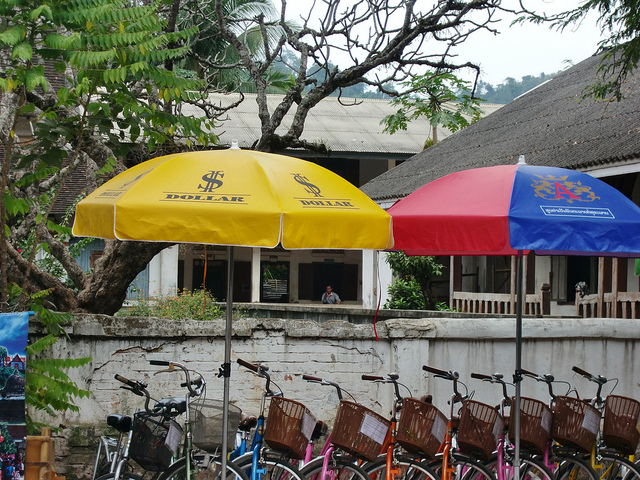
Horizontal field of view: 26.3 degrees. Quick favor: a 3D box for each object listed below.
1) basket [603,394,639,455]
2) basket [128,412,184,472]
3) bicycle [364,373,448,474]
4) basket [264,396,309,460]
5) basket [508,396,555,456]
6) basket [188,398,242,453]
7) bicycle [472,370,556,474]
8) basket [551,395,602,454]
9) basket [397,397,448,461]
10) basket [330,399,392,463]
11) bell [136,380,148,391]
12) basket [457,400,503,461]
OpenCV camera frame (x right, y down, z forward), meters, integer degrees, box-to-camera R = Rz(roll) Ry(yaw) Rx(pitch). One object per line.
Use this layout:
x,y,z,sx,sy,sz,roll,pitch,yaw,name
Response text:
3.612,2.177,16.395,0.503,0.585,0.656,3,-35,21,basket
-1.899,2.225,15.336,0.691,0.527,0.591,22,-26,-1,basket
1.021,2.242,15.572,0.792,0.903,1.219,0,-23,39,bicycle
-0.439,2.070,15.536,0.427,0.410,0.497,8,-20,33,basket
2.487,2.212,16.231,0.459,0.455,0.674,8,-25,32,basket
-1.186,2.082,15.509,0.578,0.448,0.551,4,-14,1,basket
2.364,2.229,16.071,1.259,1.067,0.797,3,-30,28,bicycle
2.889,2.132,16.380,0.554,0.491,0.703,3,-3,38,basket
1.150,2.128,15.573,0.474,0.487,0.723,14,-21,24,basket
0.456,2.113,15.649,0.556,0.518,0.684,8,-12,26,basket
-2.020,1.660,15.435,0.137,0.185,0.068,7,24,-9,bell
1.913,2.199,16.037,0.446,0.424,0.623,9,10,-5,basket
